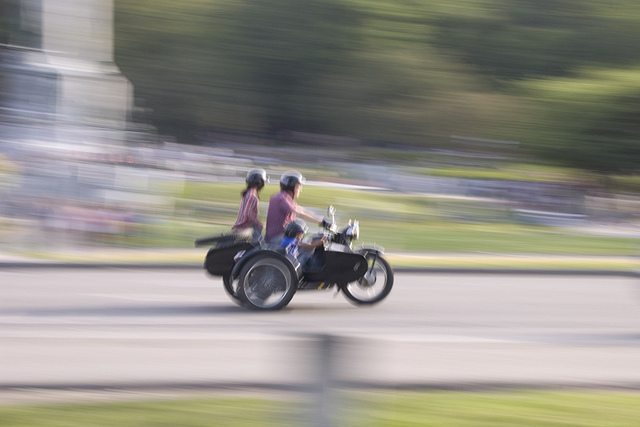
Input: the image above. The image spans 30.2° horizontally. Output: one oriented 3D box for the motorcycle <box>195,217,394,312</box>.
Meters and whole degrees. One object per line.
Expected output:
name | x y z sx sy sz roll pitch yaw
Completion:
motorcycle | -0.536 1.039 25.184 4.551 1.365 1.892 2 8 -15
